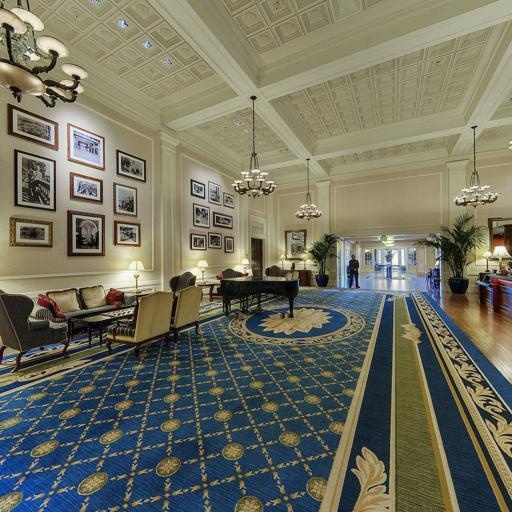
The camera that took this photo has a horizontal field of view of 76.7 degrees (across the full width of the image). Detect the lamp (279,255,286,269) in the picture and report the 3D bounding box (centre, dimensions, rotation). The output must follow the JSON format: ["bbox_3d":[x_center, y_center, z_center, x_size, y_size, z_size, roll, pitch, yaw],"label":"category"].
[{"bbox_3d":[1.048,0.139,13.153,0.181,0.551,0.345,-4,8,-19],"label":"lamp"}]

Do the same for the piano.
[{"bbox_3d":[0.064,0.667,6.290,1.127,0.479,0.942,1,-1,18],"label":"piano"}]

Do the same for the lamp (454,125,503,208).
[{"bbox_3d":[5.862,-2.255,8.742,1.024,1.826,2.561,4,8,34],"label":"lamp"}]

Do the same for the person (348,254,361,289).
[{"bbox_3d":[3.504,0.597,11.802,0.278,1.066,1.292,1,7,14],"label":"person"}]

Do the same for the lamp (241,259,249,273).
[{"bbox_3d":[-0.366,0.275,10.777,0.449,0.481,0.416,0,-5,-9],"label":"lamp"}]

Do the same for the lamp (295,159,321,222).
[{"bbox_3d":[1.822,-2.184,11.241,0.875,1.874,3.027,0,7,7],"label":"lamp"}]

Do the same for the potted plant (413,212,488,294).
[{"bbox_3d":[5.934,-0.023,9.702,1.890,1.888,1.641,2,-1,-21],"label":"potted plant"}]

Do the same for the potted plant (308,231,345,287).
[{"bbox_3d":[2.421,0.076,11.848,0.740,1.856,0.898,6,10,44],"label":"potted plant"}]
